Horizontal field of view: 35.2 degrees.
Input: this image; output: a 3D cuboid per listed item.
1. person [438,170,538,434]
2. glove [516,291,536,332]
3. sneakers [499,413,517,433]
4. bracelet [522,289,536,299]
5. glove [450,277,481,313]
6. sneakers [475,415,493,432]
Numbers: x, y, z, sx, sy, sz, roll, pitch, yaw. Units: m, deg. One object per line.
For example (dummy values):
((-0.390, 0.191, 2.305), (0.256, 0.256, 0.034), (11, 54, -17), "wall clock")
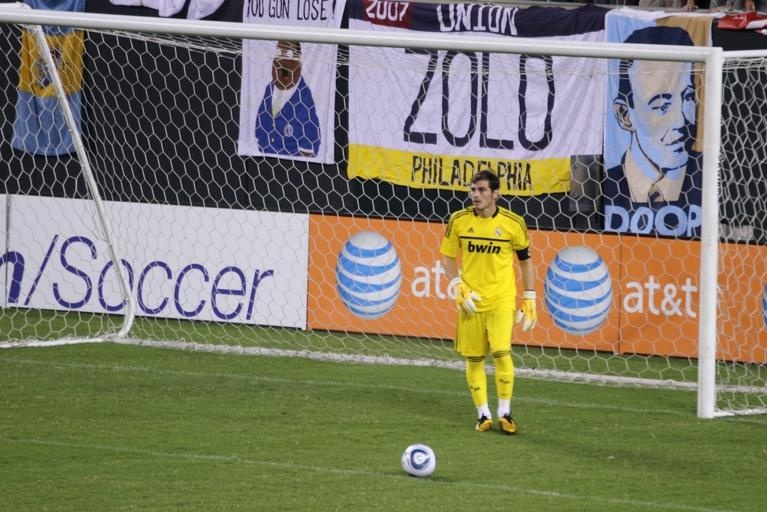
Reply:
((1.044, 0.444, 11.801), (0.908, 2.526, 0.637), (-1, 12, 3), "person")
((1.439, 0.550, 11.943), (0.274, 0.472, 0.188), (-3, 5, 0), "glove")
((1.233, 1.641, 11.801), (0.189, 0.187, 0.150), (-1, 12, 2), "sneakers")
((1.444, 0.385, 11.888), (0.090, 0.069, 0.095), (2, 5, 18), "bracelet")
((0.808, 0.389, 11.794), (0.207, 0.387, 0.109), (-33, -24, 1), "glove")
((1.003, 1.655, 11.811), (0.108, 0.134, 0.188), (0, -11, -12), "sneakers")
